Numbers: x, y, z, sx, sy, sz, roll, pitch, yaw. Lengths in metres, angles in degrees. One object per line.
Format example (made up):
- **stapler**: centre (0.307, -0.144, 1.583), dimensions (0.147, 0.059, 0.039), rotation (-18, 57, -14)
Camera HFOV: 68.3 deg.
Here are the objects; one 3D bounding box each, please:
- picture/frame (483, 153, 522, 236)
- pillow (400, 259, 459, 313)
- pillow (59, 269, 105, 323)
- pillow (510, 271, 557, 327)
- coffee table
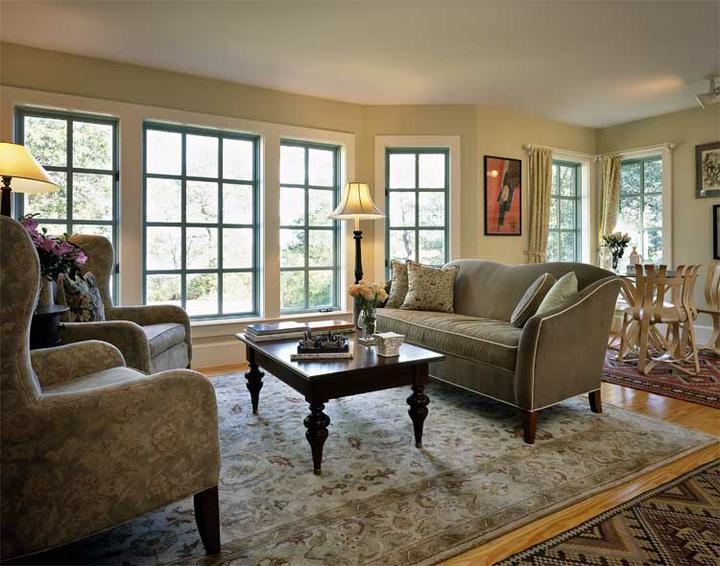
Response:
- **picture/frame**: centre (1.717, -1.035, 6.397), dimensions (0.640, 0.949, 0.139), rotation (-7, 14, -30)
- **pillow**: centre (0.650, 0.049, 4.971), dimensions (0.463, 0.460, 0.170), rotation (6, -29, 9)
- **pillow**: centre (-1.990, 0.088, 3.753), dimensions (0.116, 0.381, 0.332), rotation (-14, -8, 22)
- **pillow**: centre (1.276, 0.128, 3.963), dimensions (0.114, 0.372, 0.369), rotation (23, 7, 0)
- **coffee table**: centre (-0.033, 0.517, 3.326), dimensions (0.820, 0.507, 1.023), rotation (-2, 6, -33)
